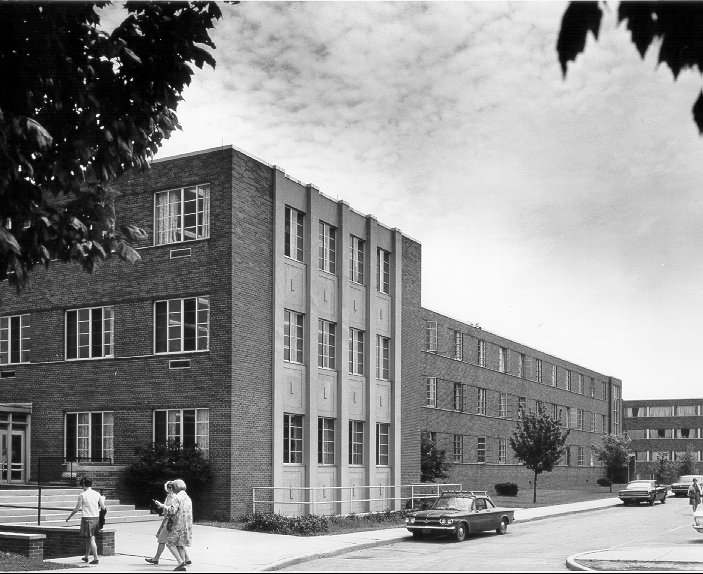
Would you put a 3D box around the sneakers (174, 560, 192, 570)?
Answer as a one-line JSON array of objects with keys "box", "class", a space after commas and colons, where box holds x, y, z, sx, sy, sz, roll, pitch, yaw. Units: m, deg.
[{"box": [-4.034, 6.619, 29.692, 0.514, 0.203, 0.175, -19, -18, 30], "class": "sneakers"}]

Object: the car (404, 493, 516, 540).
[{"box": [3.498, 7.310, 39.720, 1.415, 1.001, 3.182, -8, -14, 33], "class": "car"}]
